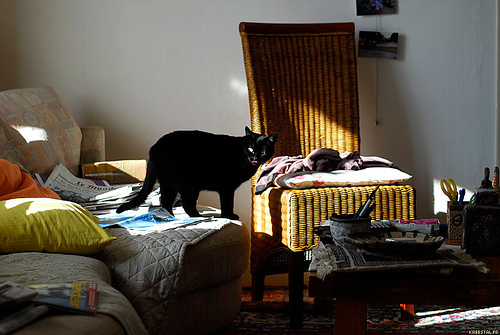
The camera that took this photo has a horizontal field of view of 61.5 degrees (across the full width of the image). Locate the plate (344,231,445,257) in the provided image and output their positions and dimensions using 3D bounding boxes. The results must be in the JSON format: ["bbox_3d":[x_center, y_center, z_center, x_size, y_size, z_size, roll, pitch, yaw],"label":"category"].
[{"bbox_3d":[0.451,0.229,1.331,0.280,0.061,0.189,0,11,-1],"label":"plate"}]

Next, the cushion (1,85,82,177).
[{"bbox_3d":[-1.108,-0.192,2.171,0.217,0.458,0.462,-16,10,19],"label":"cushion"}]

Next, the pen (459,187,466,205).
[{"bbox_3d":[0.940,0.126,1.855,0.025,0.101,0.027,2,0,-2],"label":"pen"}]

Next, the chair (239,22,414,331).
[{"bbox_3d":[0.329,-0.034,2.240,0.750,1.519,0.888,0,12,-3],"label":"chair"}]

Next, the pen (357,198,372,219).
[{"bbox_3d":[0.429,0.153,1.573,0.020,0.132,0.020,35,-25,2],"label":"pen"}]

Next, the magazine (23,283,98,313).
[{"bbox_3d":[-0.500,0.348,1.115,0.171,0.057,0.104,-3,12,-16],"label":"magazine"}]

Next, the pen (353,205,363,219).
[{"bbox_3d":[0.421,0.171,1.640,0.011,0.076,0.011,47,23,29],"label":"pen"}]

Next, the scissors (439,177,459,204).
[{"bbox_3d":[0.973,0.114,2.048,0.007,0.154,0.063,-25,-3,44],"label":"scissors"}]

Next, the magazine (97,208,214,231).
[{"bbox_3d":[-0.421,0.221,1.778,0.436,0.010,0.442,4,4,-4],"label":"magazine"}]

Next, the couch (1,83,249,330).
[{"bbox_3d":[-0.504,0.146,1.789,0.967,0.738,1.248,0,3,-6],"label":"couch"}]

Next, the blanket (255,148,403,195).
[{"bbox_3d":[0.422,0.017,2.184,0.685,0.196,0.418,-1,9,13],"label":"blanket"}]

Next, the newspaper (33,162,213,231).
[{"bbox_3d":[-0.489,0.150,1.952,0.518,0.209,1.124,-2,-14,2],"label":"newspaper"}]

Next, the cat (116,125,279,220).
[{"bbox_3d":[-0.241,0.040,1.971,0.754,0.406,0.123,-1,12,-8],"label":"cat"}]

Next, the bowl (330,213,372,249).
[{"bbox_3d":[0.338,0.211,1.401,0.109,0.076,0.106,0,-2,0],"label":"bowl"}]
